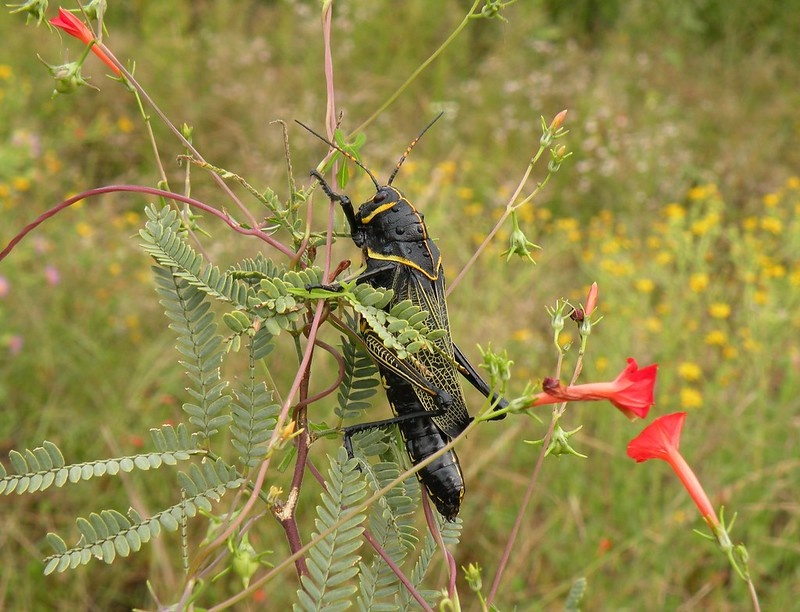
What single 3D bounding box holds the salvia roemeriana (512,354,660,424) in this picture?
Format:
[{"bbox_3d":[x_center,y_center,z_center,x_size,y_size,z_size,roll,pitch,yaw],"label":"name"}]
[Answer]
[{"bbox_3d":[0.880,0.358,4.380,0.478,0.285,0.256,-1,89,-4],"label":"salvia roemeriana"}]
